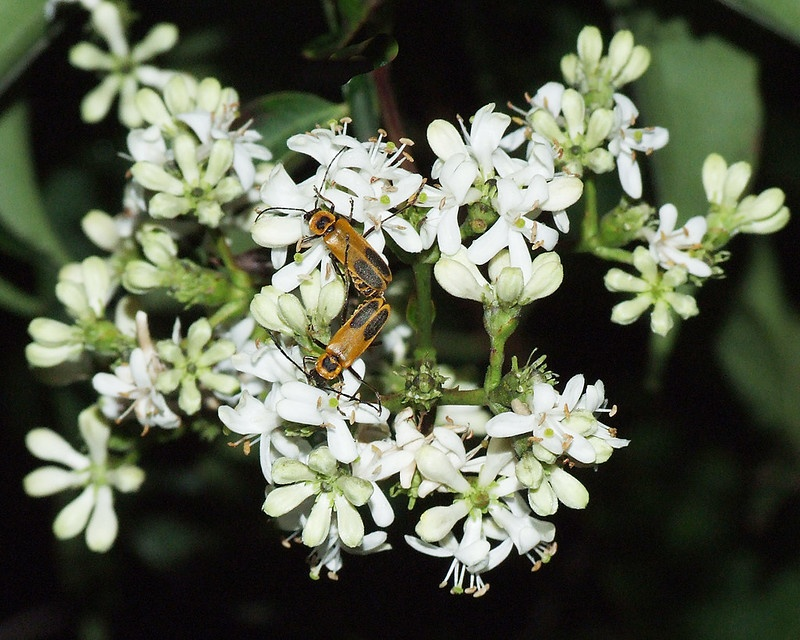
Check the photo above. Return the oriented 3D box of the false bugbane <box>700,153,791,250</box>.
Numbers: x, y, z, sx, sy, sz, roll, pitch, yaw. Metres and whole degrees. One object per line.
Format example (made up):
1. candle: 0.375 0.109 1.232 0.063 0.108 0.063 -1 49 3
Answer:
1. false bugbane: 1.410 -0.517 3.741 0.379 0.500 0.390 -2 100 11

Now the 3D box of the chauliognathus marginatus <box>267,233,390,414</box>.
1. chauliognathus marginatus: -0.182 0.058 3.187 0.516 0.168 0.570 46 62 -22
